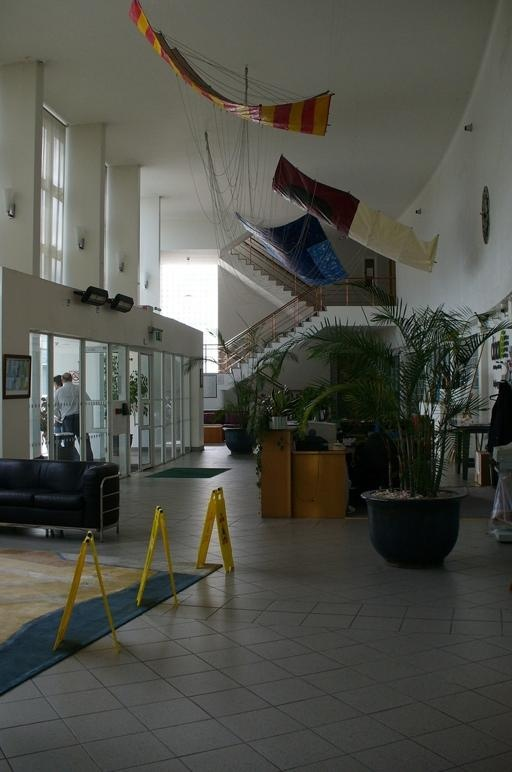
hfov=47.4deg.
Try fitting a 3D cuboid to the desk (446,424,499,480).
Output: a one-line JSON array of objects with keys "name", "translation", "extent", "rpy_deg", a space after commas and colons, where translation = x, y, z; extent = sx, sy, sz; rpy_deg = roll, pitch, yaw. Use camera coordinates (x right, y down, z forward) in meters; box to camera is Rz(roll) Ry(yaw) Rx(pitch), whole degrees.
[{"name": "desk", "translation": [3.616, 1.017, 9.210], "extent": [0.784, 0.828, 0.759], "rpy_deg": [-3, 0, 5]}]

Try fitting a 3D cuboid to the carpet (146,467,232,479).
[{"name": "carpet", "translation": [-1.235, 1.615, 10.785], "extent": [1.294, 0.104, 1.450], "rpy_deg": [-2, -4, 4]}]
